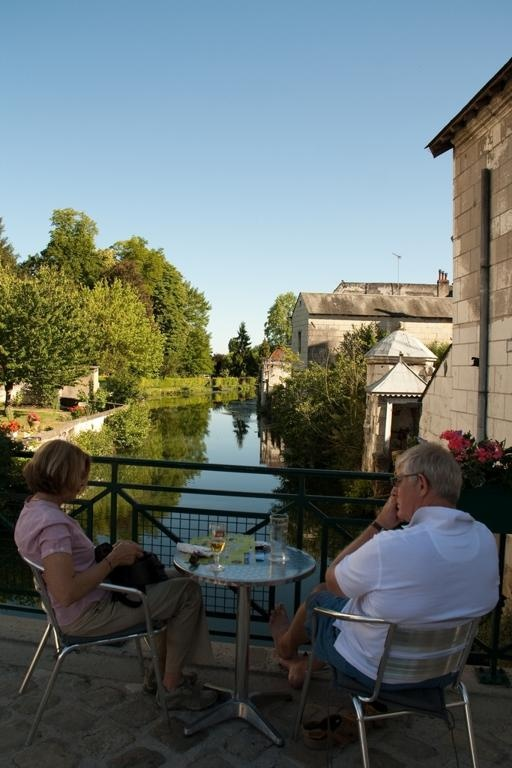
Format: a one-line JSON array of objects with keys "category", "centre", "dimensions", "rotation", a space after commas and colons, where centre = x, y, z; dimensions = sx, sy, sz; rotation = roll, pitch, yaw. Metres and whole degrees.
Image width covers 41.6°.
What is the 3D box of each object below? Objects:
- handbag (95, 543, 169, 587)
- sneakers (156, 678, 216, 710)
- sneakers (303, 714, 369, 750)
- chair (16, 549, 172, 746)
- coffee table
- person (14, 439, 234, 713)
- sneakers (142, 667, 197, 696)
[{"category": "handbag", "centre": [-0.565, 0.832, 3.066], "dimensions": [0.268, 0.202, 0.106], "rotation": [14, -41, -21]}, {"category": "sneakers", "centre": [-0.337, 1.491, 3.272], "dimensions": [0.248, 0.086, 0.139], "rotation": [-1, 12, -35]}, {"category": "sneakers", "centre": [0.328, 1.513, 2.980], "dimensions": [0.181, 0.064, 0.181], "rotation": [-2, 8, 2]}, {"category": "chair", "centre": [-0.728, 1.144, 3.294], "dimensions": [0.838, 0.942, 0.719], "rotation": [1, -5, -13]}, {"category": "coffee table", "centre": [-0.042, 1.175, 3.222], "dimensions": [0.744, 0.811, 0.744], "rotation": [0, 0, -17]}, {"category": "person", "centre": [-0.645, 0.904, 3.111], "dimensions": [0.864, 1.302, 0.548], "rotation": [-5, 2, -29]}, {"category": "sneakers", "centre": [-0.420, 1.475, 3.398], "dimensions": [0.301, 0.110, 0.164], "rotation": [1, -2, -10]}]
